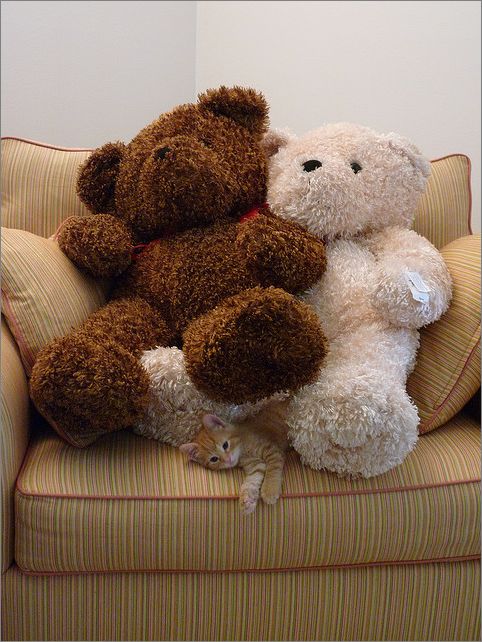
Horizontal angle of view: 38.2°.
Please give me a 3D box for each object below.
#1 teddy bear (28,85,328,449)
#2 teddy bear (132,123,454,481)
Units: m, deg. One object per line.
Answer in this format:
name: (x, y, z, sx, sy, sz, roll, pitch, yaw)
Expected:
teddy bear: (-0.114, -0.139, 1.383, 0.585, 0.635, 0.505, -6, 4, 25)
teddy bear: (0.033, -0.070, 1.584, 0.697, 0.799, 0.638, 4, 2, 23)
